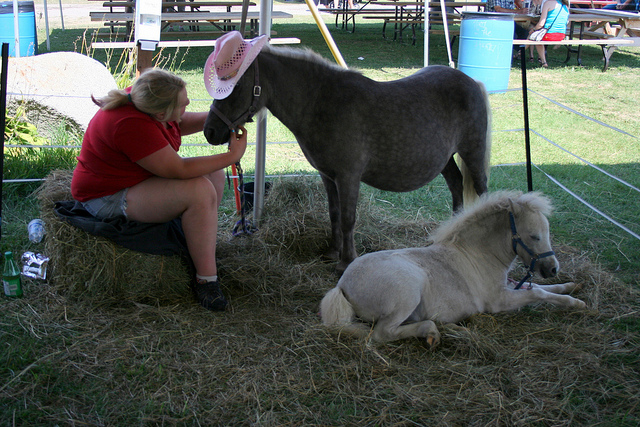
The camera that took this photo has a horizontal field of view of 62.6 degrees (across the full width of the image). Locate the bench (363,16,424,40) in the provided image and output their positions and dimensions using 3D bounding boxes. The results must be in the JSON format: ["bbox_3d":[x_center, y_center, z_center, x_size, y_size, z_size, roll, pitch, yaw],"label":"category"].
[{"bbox_3d":[2.280,-5.317,14.919,0.988,0.704,3.565,4,19,5],"label":"bench"}]

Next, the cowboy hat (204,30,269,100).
[{"bbox_3d":[-0.677,-1.113,3.862,0.198,0.529,0.426,29,6,-47],"label":"cowboy hat"}]

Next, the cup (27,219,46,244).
[{"bbox_3d":[-2.437,0.161,4.524,0.132,0.138,0.176,21,15,-27],"label":"cup"}]

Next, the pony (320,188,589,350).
[{"bbox_3d":[1.105,0.222,4.349,2.349,1.322,0.925,-9,10,-13],"label":"pony"}]

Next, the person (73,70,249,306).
[{"bbox_3d":[-1.273,-0.246,4.202,1.245,1.764,1.092,-1,22,-19],"label":"person"}]

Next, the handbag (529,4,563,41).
[{"bbox_3d":[4.436,-3.818,10.471,0.535,0.668,0.447,1,17,-5],"label":"handbag"}]

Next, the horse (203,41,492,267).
[{"bbox_3d":[0.436,-0.533,4.475,2.622,1.831,0.785,-6,19,-14],"label":"horse"}]

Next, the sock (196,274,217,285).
[{"bbox_3d":[-0.877,0.511,4.040,0.168,0.076,0.058,2,-1,-6],"label":"sock"}]

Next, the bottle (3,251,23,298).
[{"bbox_3d":[-2.336,0.483,3.976,0.116,0.333,0.052,-6,18,-25],"label":"bottle"}]
